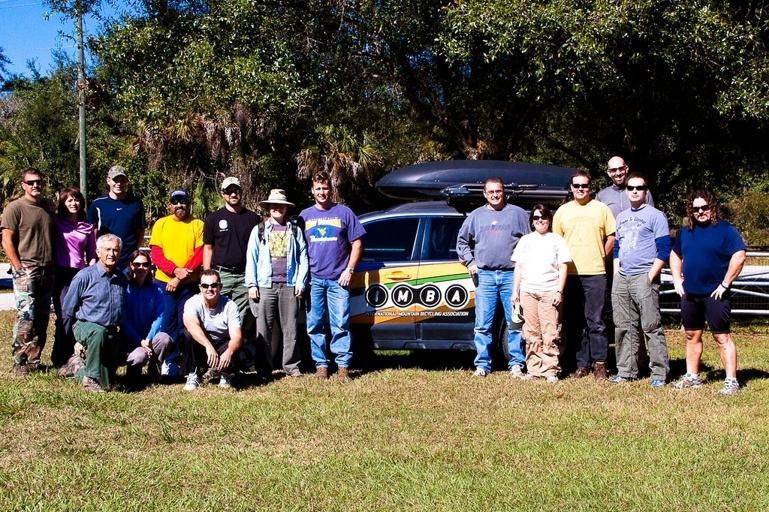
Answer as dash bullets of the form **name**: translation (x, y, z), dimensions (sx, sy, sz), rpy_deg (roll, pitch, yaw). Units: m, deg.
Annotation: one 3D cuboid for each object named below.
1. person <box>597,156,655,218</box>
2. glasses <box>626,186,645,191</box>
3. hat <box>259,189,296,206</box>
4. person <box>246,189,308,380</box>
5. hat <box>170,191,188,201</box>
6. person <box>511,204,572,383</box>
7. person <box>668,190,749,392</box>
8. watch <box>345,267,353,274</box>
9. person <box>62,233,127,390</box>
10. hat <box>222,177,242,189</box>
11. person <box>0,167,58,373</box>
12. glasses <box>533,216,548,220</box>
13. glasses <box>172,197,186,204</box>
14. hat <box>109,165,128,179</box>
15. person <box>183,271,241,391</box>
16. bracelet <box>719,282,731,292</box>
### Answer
- **person**: translation (3.540, -1.025, 15.230), dimensions (0.987, 0.841, 0.450), rpy_deg (-7, -5, 18)
- **glasses**: translation (3.558, -0.955, 14.453), dimensions (0.239, 0.070, 0.085), rpy_deg (1, -4, 13)
- **hat**: translation (-1.578, -0.849, 15.042), dimensions (0.362, 0.143, 0.367), rpy_deg (2, -1, -8)
- **person**: translation (-1.571, 0.409, 14.850), dimensions (0.873, 2.726, 0.329), rpy_deg (2, -5, -7)
- **hat**: translation (-3.042, -0.904, 15.164), dimensions (0.284, 0.182, 0.227), rpy_deg (3, -5, -24)
- **person**: translation (2.238, 0.531, 14.689), dimensions (0.810, 2.525, 0.383), rpy_deg (1, -5, 6)
- **person**: translation (4.405, 0.461, 13.946), dimensions (1.002, 2.708, 0.586), rpy_deg (-1, -5, 29)
- **watch**: translation (-0.502, 0.221, 14.789), dimensions (0.114, 0.075, 0.115), rpy_deg (-5, -24, 45)
- **person**: translation (-4.059, 0.777, 14.253), dimensions (0.740, 2.150, 0.537), rpy_deg (1, -5, 10)
- **hat**: translation (-2.283, -1.075, 15.239), dimensions (0.266, 0.238, 0.514), rpy_deg (2, -4, -9)
- **person**: translation (-5.140, 0.194, 14.666), dimensions (0.738, 2.949, 0.411), rpy_deg (3, -5, -19)
- **glasses**: translation (2.225, -0.558, 14.619), dimensions (0.195, 0.067, 0.047), rpy_deg (0, -5, 24)
- **glasses**: translation (-3.039, -0.813, 15.103), dimensions (0.140, 0.098, 0.222), rpy_deg (3, 12, -9)
- **hat**: translation (-3.989, -1.259, 15.210), dimensions (0.205, 0.163, 0.282), rpy_deg (1, -15, -20)
- **person**: translation (-2.435, 1.208, 14.458), dimensions (0.822, 1.367, 0.427), rpy_deg (2, -5, -8)
- **bracelet**: translation (4.610, 0.410, 13.766), dimensions (0.185, 0.110, 0.094), rpy_deg (4, -5, -33)
